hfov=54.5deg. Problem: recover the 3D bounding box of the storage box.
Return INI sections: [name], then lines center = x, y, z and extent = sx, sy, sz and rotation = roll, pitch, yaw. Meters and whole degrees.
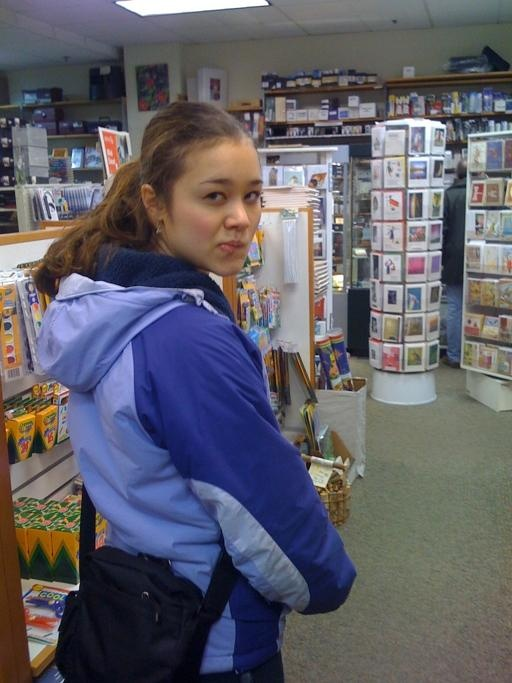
[storage box]
center = 0.648, 0.630, 3.883
extent = 0.504, 1.064, 0.540
rotation = -2, 6, -2
